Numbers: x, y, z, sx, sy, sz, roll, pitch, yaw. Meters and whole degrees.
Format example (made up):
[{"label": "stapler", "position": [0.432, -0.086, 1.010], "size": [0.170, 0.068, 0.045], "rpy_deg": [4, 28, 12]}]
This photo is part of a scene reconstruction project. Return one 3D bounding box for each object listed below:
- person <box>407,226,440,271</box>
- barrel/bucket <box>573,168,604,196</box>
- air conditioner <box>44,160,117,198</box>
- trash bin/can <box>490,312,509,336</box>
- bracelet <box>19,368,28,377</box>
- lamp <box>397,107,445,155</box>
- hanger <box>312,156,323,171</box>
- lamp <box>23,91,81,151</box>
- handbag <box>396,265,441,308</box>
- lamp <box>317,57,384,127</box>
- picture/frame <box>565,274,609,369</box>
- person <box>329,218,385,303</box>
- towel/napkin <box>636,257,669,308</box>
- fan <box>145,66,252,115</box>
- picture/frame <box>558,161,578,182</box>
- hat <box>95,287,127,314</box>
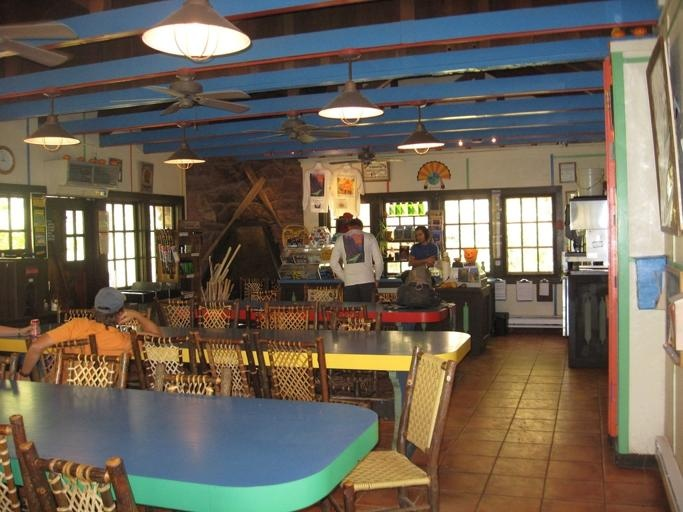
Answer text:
[{"label": "person", "position": [1.166, -0.154, 9.207], "size": [0.392, 0.541, 0.939], "rpy_deg": [1, 5, 6]}, {"label": "barrel/bucket", "position": [3.966, -1.191, 10.297], "size": [0.405, 0.410, 0.644], "rpy_deg": [2, 5, 21]}, {"label": "air conditioner", "position": [-3.780, -1.134, 9.513], "size": [0.357, 0.534, 1.192], "rpy_deg": [8, 6, 14]}, {"label": "trash bin/can", "position": [2.610, 1.094, 10.706], "size": [0.276, 0.379, 0.503], "rpy_deg": [-1, 1, 12]}, {"label": "bracelet", "position": [-2.254, 0.820, 4.603], "size": [0.043, 0.048, 0.063], "rpy_deg": [0, -10, 0]}, {"label": "lamp", "position": [0.909, -1.556, 7.676], "size": [0.444, 0.601, 1.691], "rpy_deg": [1, 5, 5]}, {"label": "hanger", "position": [-0.432, -1.744, 12.110], "size": [0.208, 0.163, 0.032], "rpy_deg": [4, 12, 22]}, {"label": "lamp", "position": [-2.853, -1.402, 6.395], "size": [0.480, 0.630, 0.482], "rpy_deg": [-1, 1, -14]}, {"label": "handbag", "position": [0.798, 0.310, 6.754], "size": [0.334, 0.176, 0.469], "rpy_deg": [0, 11, 13]}, {"label": "lamp", "position": [0.068, -1.483, 5.394], "size": [0.517, 0.647, 0.531], "rpy_deg": [-2, 1, -28]}, {"label": "picture/frame", "position": [3.035, 0.782, 8.001], "size": [0.418, 1.157, 0.150], "rpy_deg": [0, 5, -2]}, {"label": "person", "position": [0.205, 0.236, 8.001], "size": [0.574, 1.623, 0.389], "rpy_deg": [1, 29, 7]}, {"label": "towel/napkin", "position": [2.377, 0.163, 5.000], "size": [0.276, 0.431, 0.264], "rpy_deg": [5, 26, 40]}, {"label": "fan", "position": [-1.291, -1.493, 5.994], "size": [0.617, 0.238, 0.620], "rpy_deg": [-6, 6, -30]}, {"label": "picture/frame", "position": [3.801, -1.434, 10.849], "size": [0.328, 0.429, 0.032], "rpy_deg": [1, 4, 16]}, {"label": "hat", "position": [-1.731, 0.302, 4.927], "size": [0.157, 0.126, 0.231], "rpy_deg": [3, 38, -4]}]
